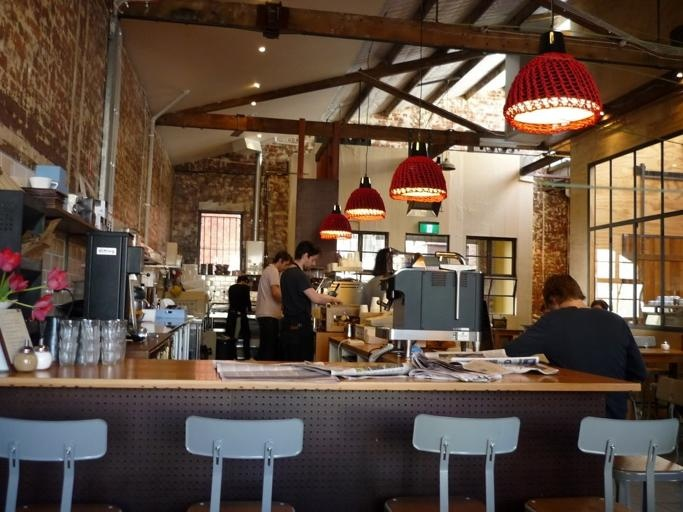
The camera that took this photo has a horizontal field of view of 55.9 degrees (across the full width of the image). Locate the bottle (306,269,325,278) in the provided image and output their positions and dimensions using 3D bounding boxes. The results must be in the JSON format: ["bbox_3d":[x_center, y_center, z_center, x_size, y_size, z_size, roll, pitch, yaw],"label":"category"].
[{"bbox_3d":[-0.403,0.303,10.421,0.367,0.123,0.347,4,-5,0],"label":"bottle"}]

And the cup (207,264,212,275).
[{"bbox_3d":[-2.845,0.305,13.988,0.113,0.213,0.076,3,-7,-11],"label":"cup"}]

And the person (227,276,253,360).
[{"bbox_3d":[-1.643,1.047,10.334,0.394,1.167,0.461,3,-7,-10],"label":"person"}]

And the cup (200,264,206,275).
[{"bbox_3d":[-2.990,0.305,13.939,0.174,0.297,0.171,0,-6,0],"label":"cup"}]

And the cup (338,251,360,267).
[{"bbox_3d":[0.117,0.059,8.940,0.228,0.215,0.225,1,1,0],"label":"cup"}]

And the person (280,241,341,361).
[{"bbox_3d":[-0.395,0.495,7.039,0.570,1.307,0.737,3,-7,-6],"label":"person"}]

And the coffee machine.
[{"bbox_3d":[-1.729,0.182,4.883,0.406,0.743,0.451,4,-7,-18],"label":"coffee machine"}]

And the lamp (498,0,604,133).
[{"bbox_3d":[1.417,-1.096,4.352,0.630,0.457,0.537,-1,-7,21],"label":"lamp"}]

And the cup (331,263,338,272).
[{"bbox_3d":[-0.098,0.149,8.456,0.116,0.111,0.086,0,-12,3],"label":"cup"}]

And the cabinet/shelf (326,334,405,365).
[{"bbox_3d":[0.171,0.862,5.643,0.457,0.265,2.814,2,-6,-3],"label":"cabinet/shelf"}]

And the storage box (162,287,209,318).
[{"bbox_3d":[-2.741,0.817,11.428,0.676,0.407,0.677,1,-3,2],"label":"storage box"}]

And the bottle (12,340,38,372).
[{"bbox_3d":[-1.767,0.562,3.597,0.138,0.185,0.135,2,-11,0],"label":"bottle"}]

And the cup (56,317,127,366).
[{"bbox_3d":[-1.478,0.515,3.823,0.365,0.272,0.171,5,-7,-24],"label":"cup"}]

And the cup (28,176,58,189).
[{"bbox_3d":[-2.050,-0.480,4.440,0.131,0.056,0.106,2,-2,-20],"label":"cup"}]

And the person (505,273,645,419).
[{"bbox_3d":[1.717,0.876,4.713,0.938,1.392,0.665,-2,5,33],"label":"person"}]

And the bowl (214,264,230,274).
[{"bbox_3d":[-2.615,0.312,14.044,0.237,0.096,0.215,9,31,24],"label":"bowl"}]
